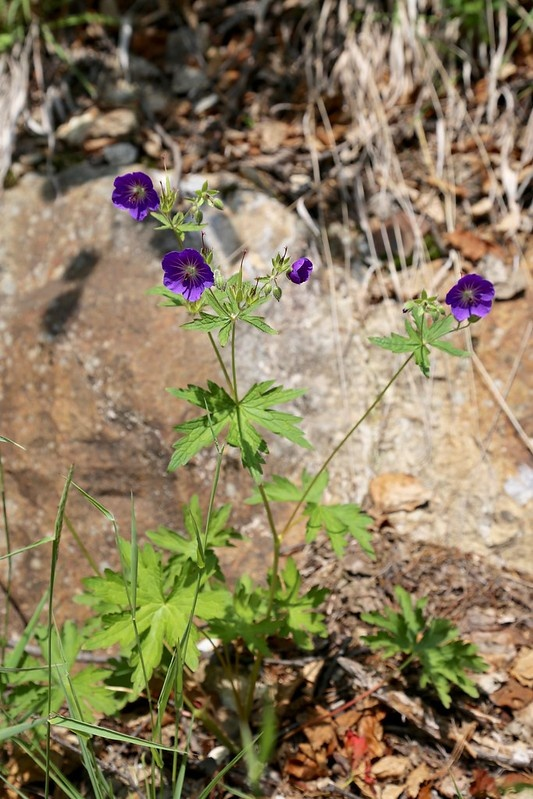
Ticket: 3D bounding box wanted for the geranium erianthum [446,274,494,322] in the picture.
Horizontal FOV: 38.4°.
[{"bbox_3d":[0.776,-0.385,2.887,0.201,0.182,0.073,6,32,3],"label":"geranium erianthum"}]
